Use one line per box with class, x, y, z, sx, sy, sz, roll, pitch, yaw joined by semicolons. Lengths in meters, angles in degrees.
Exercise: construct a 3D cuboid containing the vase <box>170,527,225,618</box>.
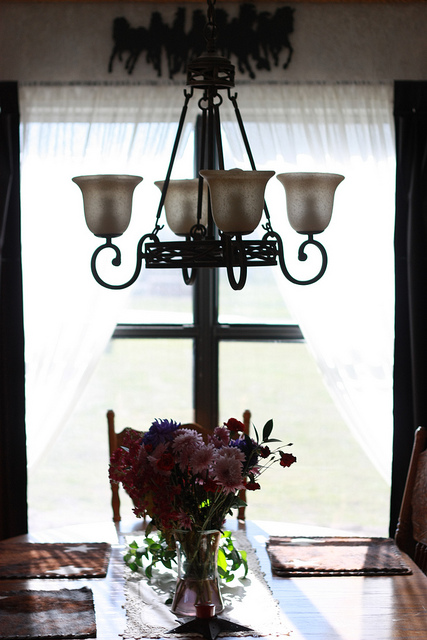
vase;-0.042;0.565;2.143;0.132;0.183;0.132;-5;-10;31
